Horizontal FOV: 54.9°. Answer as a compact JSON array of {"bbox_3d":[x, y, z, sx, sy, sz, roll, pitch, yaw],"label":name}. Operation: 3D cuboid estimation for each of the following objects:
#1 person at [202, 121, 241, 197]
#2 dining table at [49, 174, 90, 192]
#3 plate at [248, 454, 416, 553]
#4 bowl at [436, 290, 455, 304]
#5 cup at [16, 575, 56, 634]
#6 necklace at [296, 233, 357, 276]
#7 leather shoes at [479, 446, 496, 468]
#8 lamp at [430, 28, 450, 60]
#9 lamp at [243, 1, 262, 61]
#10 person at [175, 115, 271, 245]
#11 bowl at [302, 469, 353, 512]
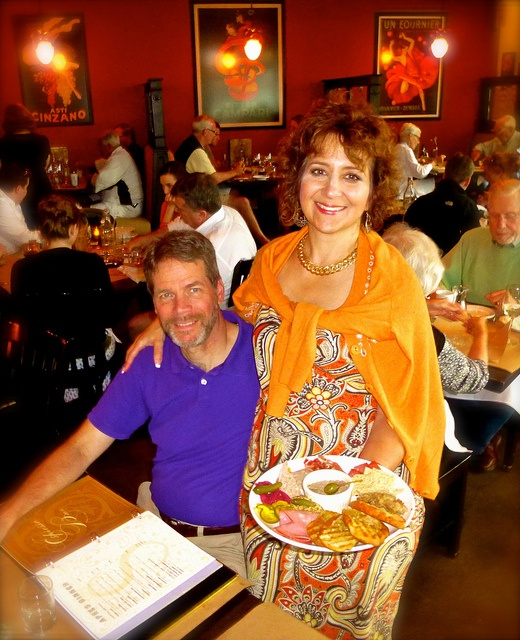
[{"bbox_3d":[-0.629,-2.329,7.230,0.728,1.141,0.811,-4,35,-6],"label":"person"},{"bbox_3d":[-2.709,-1.952,7.119,0.485,0.219,0.816,-9,18,-21],"label":"dining table"},{"bbox_3d":[0.117,0.326,0.928,0.228,0.036,0.234,16,25,38],"label":"plate"},{"bbox_3d":[0.946,-0.119,2.542,0.080,0.058,0.081,-1,10,0],"label":"bowl"},{"bbox_3d":[-0.332,0.442,0.778,0.048,0.056,0.070,-1,2,-6],"label":"cup"},{"bbox_3d":[0.162,-0.170,1.308,0.105,0.104,0.010,1,1,36],"label":"necklace"},{"bbox_3d":[1.268,0.757,2.769,0.087,0.148,0.087,3,20,18],"label":"leather shoes"},{"bbox_3d":[3.255,-5.043,9.104,0.301,0.474,0.649,2,18,16],"label":"lamp"},{"bbox_3d":[-0.128,-4.801,8.275,0.303,0.832,0.401,-3,19,1],"label":"lamp"},{"bbox_3d":[-0.491,-1.943,7.084,1.495,1.774,0.809,0,23,1],"label":"person"},{"bbox_3d":[0.129,0.320,0.953,0.070,0.042,0.064,-1,14,0],"label":"bowl"}]
